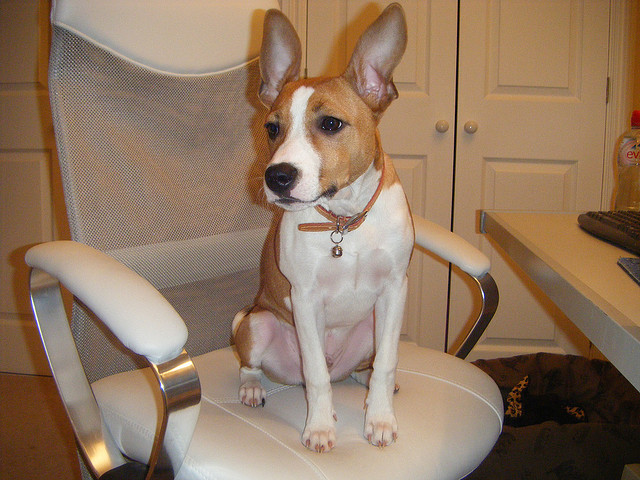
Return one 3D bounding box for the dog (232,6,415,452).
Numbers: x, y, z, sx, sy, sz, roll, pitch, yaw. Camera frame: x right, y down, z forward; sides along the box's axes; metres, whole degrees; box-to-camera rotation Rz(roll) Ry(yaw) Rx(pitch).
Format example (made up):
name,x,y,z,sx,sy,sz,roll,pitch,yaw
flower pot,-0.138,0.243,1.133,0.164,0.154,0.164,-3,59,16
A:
name,x,y,z,sx,sy,sz,roll,pitch,yaw
dog,-0.014,-0.077,1.550,0.546,1.116,0.505,3,13,10
